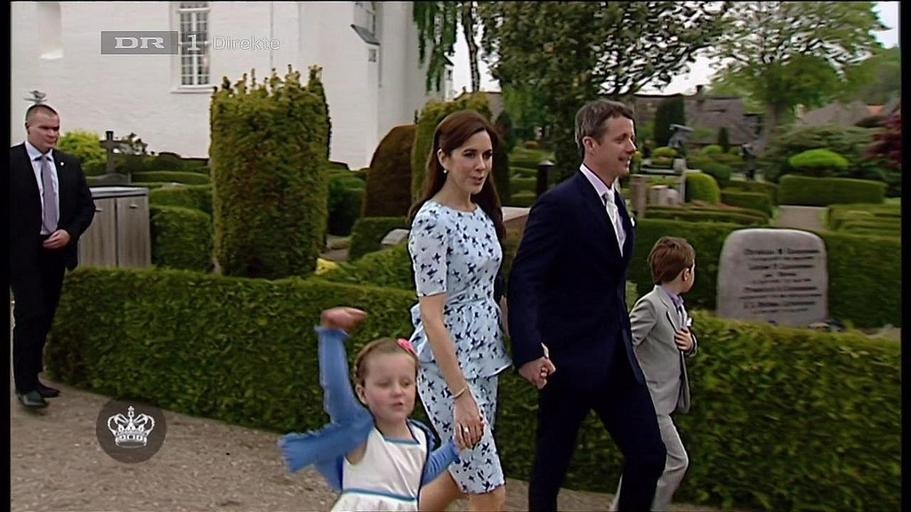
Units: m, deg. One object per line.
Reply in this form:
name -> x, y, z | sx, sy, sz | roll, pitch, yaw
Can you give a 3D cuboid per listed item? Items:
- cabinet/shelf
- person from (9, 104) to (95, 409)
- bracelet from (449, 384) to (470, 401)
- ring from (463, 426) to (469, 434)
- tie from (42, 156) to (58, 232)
cabinet/shelf -> -3.326, -0.200, 7.494 | 0.760, 0.804, 0.658 | -2, -1, 13
person -> -3.862, 0.030, 7.027 | 0.661, 2.832, 0.371 | -3, 11, -28
bracelet -> 0.031, 0.904, 4.882 | 0.099, 0.024, 0.098 | -32, -3, -13
ring -> 0.069, 1.153, 4.887 | 0.044, 0.039, 0.011 | -2, -3, -10
tie -> -3.818, -0.575, 6.936 | 0.127, 0.717, 0.082 | -1, 10, -20
